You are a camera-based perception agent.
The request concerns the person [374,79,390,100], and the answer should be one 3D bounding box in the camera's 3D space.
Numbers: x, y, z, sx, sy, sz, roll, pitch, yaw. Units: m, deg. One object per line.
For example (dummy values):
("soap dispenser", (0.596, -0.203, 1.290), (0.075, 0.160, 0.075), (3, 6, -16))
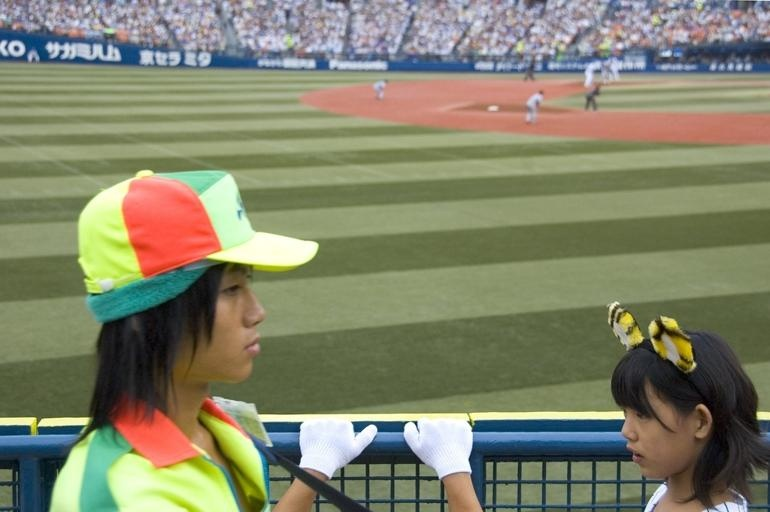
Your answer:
("person", (-0.071, -4.756, 39.004), (0.498, 0.333, 0.718), (-6, -24, -21))
